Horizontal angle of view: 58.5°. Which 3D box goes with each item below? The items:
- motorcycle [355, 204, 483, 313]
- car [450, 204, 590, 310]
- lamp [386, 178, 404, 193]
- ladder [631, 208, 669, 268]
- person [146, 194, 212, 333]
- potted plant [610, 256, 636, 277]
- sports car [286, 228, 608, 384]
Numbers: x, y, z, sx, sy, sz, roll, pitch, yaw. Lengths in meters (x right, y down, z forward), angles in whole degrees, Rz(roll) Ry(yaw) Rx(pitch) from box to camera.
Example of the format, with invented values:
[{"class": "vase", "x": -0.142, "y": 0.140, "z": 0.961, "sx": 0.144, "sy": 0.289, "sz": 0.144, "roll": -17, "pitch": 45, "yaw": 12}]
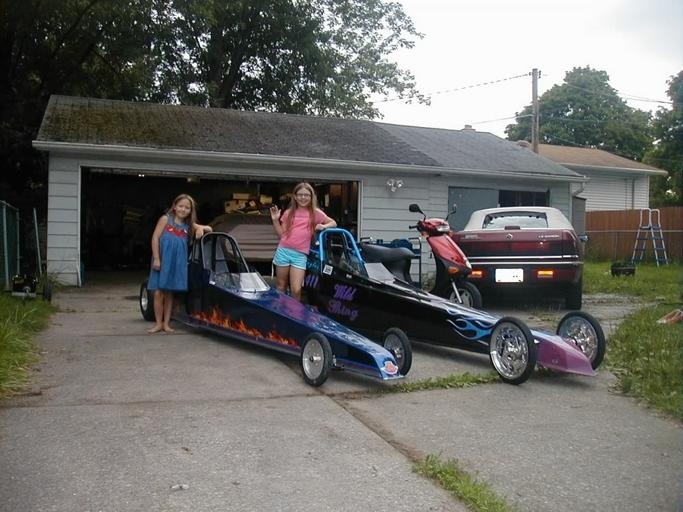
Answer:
[{"class": "motorcycle", "x": 0.942, "y": 0.002, "z": 8.661, "sx": 2.259, "sy": 1.702, "sz": 1.003, "roll": 6, "pitch": 6, "yaw": 34}, {"class": "car", "x": 2.946, "y": 0.029, "z": 10.028, "sx": 1.566, "sy": 1.484, "sz": 4.010, "roll": 0, "pitch": 0, "yaw": 17}, {"class": "lamp", "x": 1.315, "y": -1.686, "z": 14.653, "sx": 0.481, "sy": 0.336, "sz": 0.165, "roll": -3, "pitch": 9, "yaw": -27}, {"class": "ladder", "x": 10.535, "y": -0.668, "z": 20.874, "sx": 1.177, "sy": 2.781, "sz": 1.229, "roll": 0, "pitch": 7, "yaw": -11}, {"class": "person", "x": -2.079, "y": 0.033, "z": 7.668, "sx": 0.526, "sy": 1.992, "sz": 0.659, "roll": 0, "pitch": 0, "yaw": -39}, {"class": "potted plant", "x": 8.341, "y": 0.304, "z": 17.963, "sx": 0.582, "sy": 0.392, "sz": 0.605, "roll": 0, "pitch": -1, "yaw": 33}, {"class": "sports car", "x": 0.955, "y": 0.442, "z": 6.970, "sx": 1.247, "sy": 1.596, "sz": 3.842, "roll": 5, "pitch": -2, "yaw": -36}]
